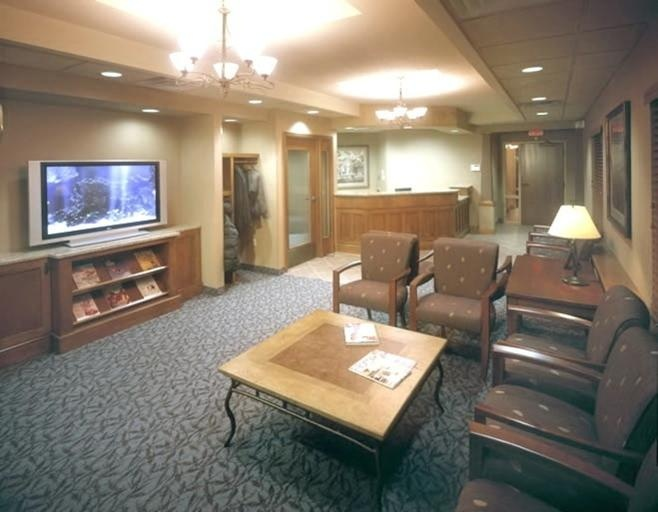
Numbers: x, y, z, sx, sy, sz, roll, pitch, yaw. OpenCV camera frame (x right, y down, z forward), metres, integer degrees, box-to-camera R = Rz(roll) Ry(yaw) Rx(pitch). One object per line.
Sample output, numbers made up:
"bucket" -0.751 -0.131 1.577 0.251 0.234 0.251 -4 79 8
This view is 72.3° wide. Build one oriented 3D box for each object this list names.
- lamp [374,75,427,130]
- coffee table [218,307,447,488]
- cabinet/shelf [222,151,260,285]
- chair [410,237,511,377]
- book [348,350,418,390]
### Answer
"lamp" 1.149 -2.448 7.342 0.669 0.857 0.679 6 11 41
"coffee table" 0.052 0.803 3.405 1.053 0.538 1.086 11 23 31
"cabinet/shelf" -1.362 -0.894 7.481 0.431 1.695 0.882 -10 -7 -5
"chair" 1.320 0.404 4.760 1.151 1.611 1.151 4 11 28
"book" 0.404 0.806 3.322 0.361 0.032 0.399 12 24 35
